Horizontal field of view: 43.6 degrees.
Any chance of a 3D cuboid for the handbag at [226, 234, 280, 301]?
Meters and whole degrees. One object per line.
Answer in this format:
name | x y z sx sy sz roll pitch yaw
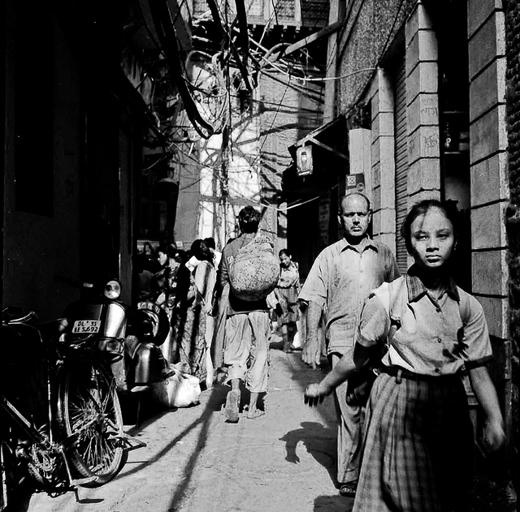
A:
handbag | -0.054 0.113 6.079 0.493 0.594 0.336 1 0 -5
